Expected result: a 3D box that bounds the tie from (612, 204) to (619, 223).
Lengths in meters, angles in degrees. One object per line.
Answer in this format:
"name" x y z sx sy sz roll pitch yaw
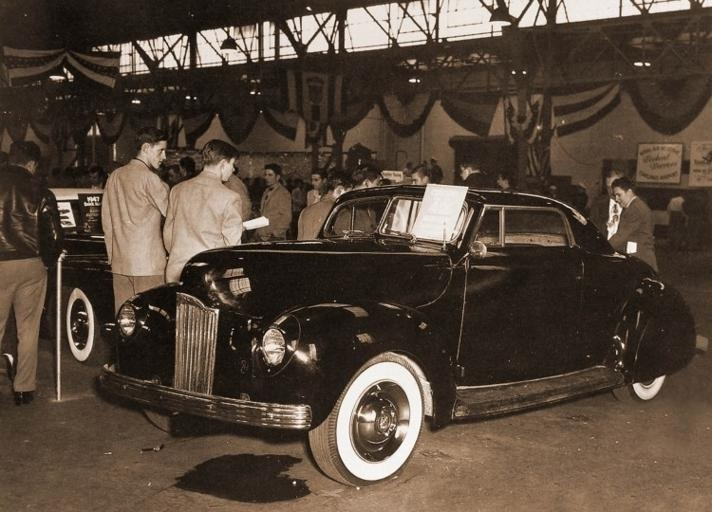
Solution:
"tie" 4.105 -0.683 12.228 0.121 0.344 0.100 6 -28 9
